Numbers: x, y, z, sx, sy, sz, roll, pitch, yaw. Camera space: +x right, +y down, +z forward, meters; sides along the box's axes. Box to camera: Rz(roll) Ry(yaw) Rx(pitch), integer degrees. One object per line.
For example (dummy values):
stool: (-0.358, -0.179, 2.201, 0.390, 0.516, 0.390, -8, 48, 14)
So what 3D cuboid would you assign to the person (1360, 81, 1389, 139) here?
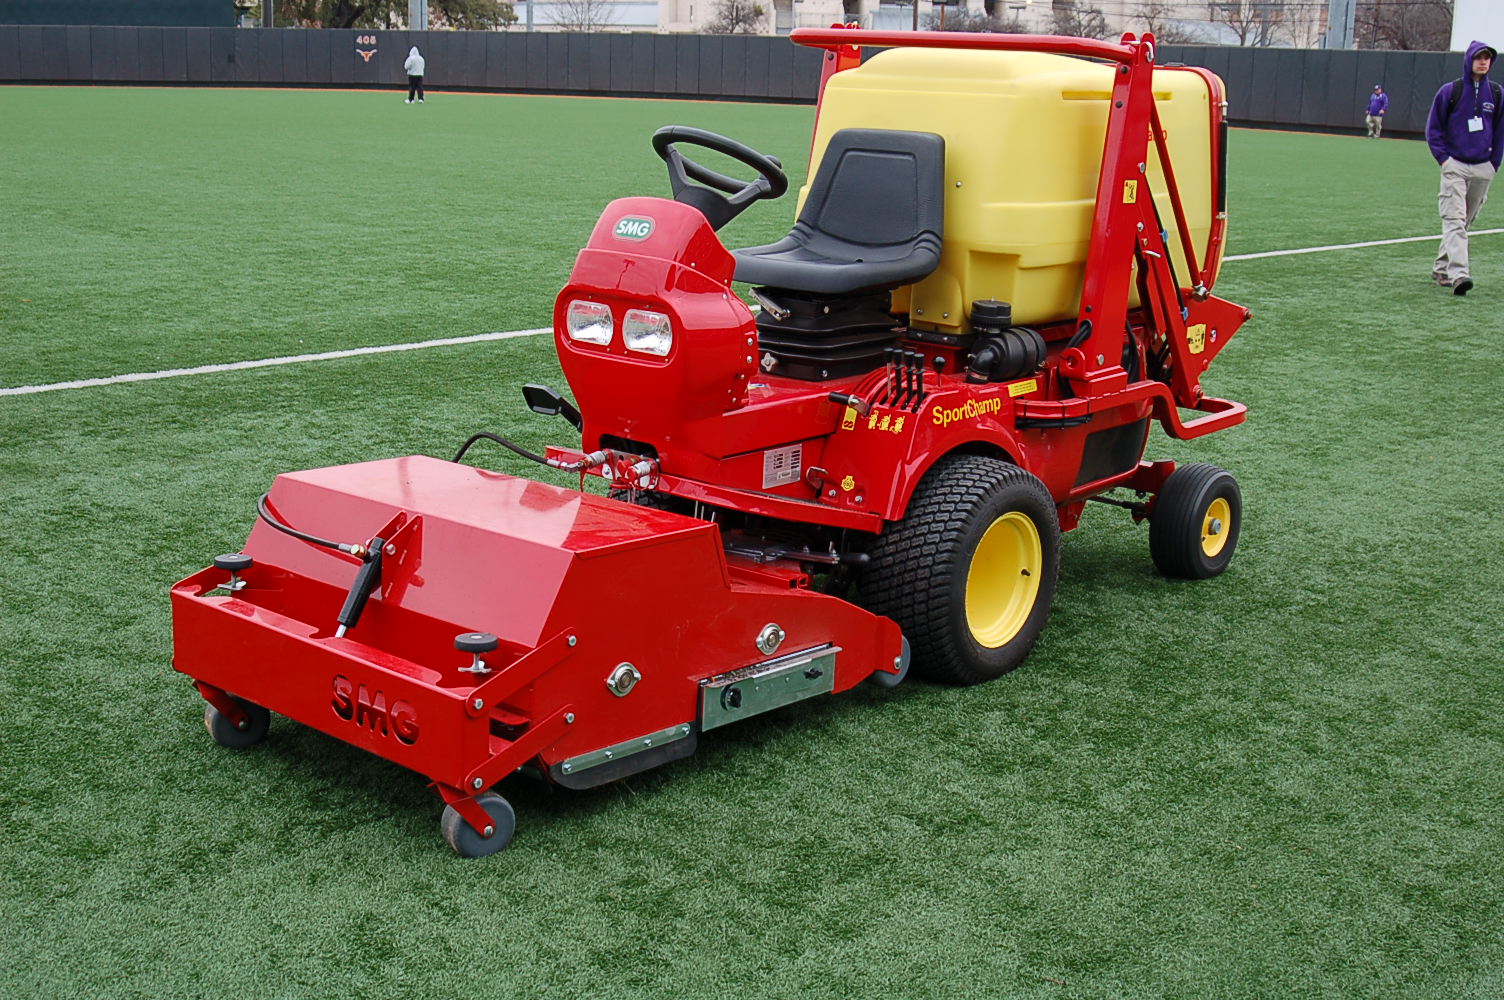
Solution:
person: (16.618, -10.260, 31.078, 0.463, 1.231, 1.526, 9, 22, 25)

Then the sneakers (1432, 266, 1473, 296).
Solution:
sneakers: (6.708, -2.087, 11.280, 0.173, 0.225, 0.522, -7, 11, 5)

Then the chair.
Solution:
chair: (0.303, -1.108, 4.507, 0.910, 0.560, 0.852, -6, 21, -15)
